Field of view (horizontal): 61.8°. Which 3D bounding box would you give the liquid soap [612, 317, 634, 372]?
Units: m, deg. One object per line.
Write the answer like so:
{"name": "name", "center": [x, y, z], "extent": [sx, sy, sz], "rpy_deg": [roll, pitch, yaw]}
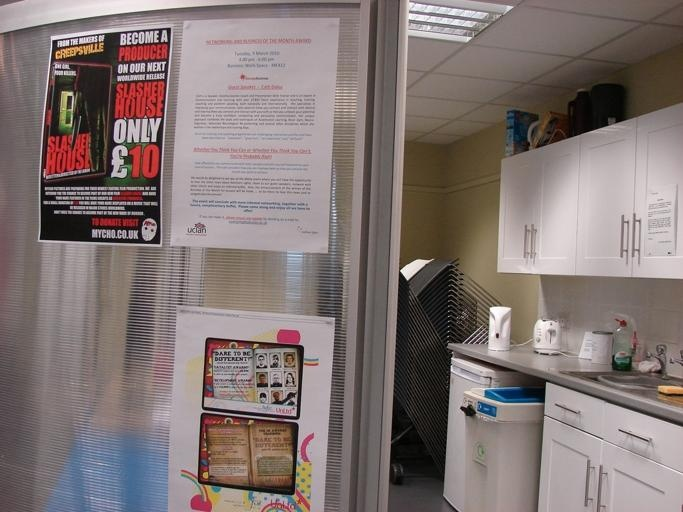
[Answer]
{"name": "liquid soap", "center": [1.618, 0.510, 3.291], "extent": [0.112, 0.276, 0.324], "rpy_deg": [0, -2, 26]}

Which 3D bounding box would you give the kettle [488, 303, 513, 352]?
{"name": "kettle", "center": [1.033, 0.481, 3.742], "extent": [0.140, 0.278, 0.166], "rpy_deg": [1, -2, 12]}

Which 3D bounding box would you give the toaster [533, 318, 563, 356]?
{"name": "toaster", "center": [1.361, 0.539, 3.769], "extent": [0.173, 0.242, 0.231], "rpy_deg": [0, -9, 15]}
